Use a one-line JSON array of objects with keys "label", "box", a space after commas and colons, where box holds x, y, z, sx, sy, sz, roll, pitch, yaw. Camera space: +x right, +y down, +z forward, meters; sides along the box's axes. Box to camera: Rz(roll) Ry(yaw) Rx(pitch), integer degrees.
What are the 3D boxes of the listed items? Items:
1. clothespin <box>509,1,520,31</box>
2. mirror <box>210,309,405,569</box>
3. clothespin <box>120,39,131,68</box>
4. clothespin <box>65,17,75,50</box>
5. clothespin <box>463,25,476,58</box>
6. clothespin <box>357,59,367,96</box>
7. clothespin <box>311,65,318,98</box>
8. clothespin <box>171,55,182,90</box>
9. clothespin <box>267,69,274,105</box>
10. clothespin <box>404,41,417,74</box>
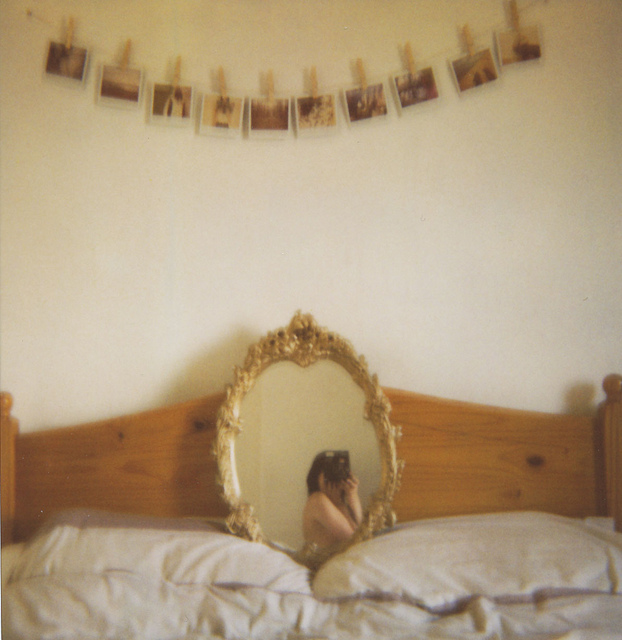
[{"label": "clothespin", "box": [0.674, -1.005, 2.438, 0.021, 0.092, 0.035, -4, -6, 41]}, {"label": "mirror", "box": [-0.010, 0.421, 2.343, 0.628, 0.995, 0.064, -2, 30, 1]}, {"label": "clothespin", "box": [-0.629, -0.901, 2.493, 0.034, 0.093, 0.018, 1, -5, -13]}, {"label": "clothespin", "box": [-0.808, -0.960, 2.470, 0.030, 0.102, 0.019, 0, -5, 2]}, {"label": "clothespin", "box": [0.533, -0.935, 2.474, 0.041, 0.103, 0.015, 2, -5, -19]}, {"label": "clothespin", "box": [0.176, -0.827, 2.515, 0.031, 0.123, 0.015, 0, -5, 5]}, {"label": "clothespin", "box": [0.012, -0.817, 2.524, 0.021, 0.112, 0.015, 0, -5, 0]}, {"label": "clothespin", "box": [-0.458, -0.844, 2.513, 0.034, 0.109, 0.016, 0, -5, -2]}, {"label": "clothespin", "box": [-0.137, -0.799, 2.529, 0.020, 0.118, 0.014, 1, -5, -13]}, {"label": "clothespin", "box": [0.339, -0.890, 2.498, 0.042, 0.109, 0.020, 0, -5, 5]}]
